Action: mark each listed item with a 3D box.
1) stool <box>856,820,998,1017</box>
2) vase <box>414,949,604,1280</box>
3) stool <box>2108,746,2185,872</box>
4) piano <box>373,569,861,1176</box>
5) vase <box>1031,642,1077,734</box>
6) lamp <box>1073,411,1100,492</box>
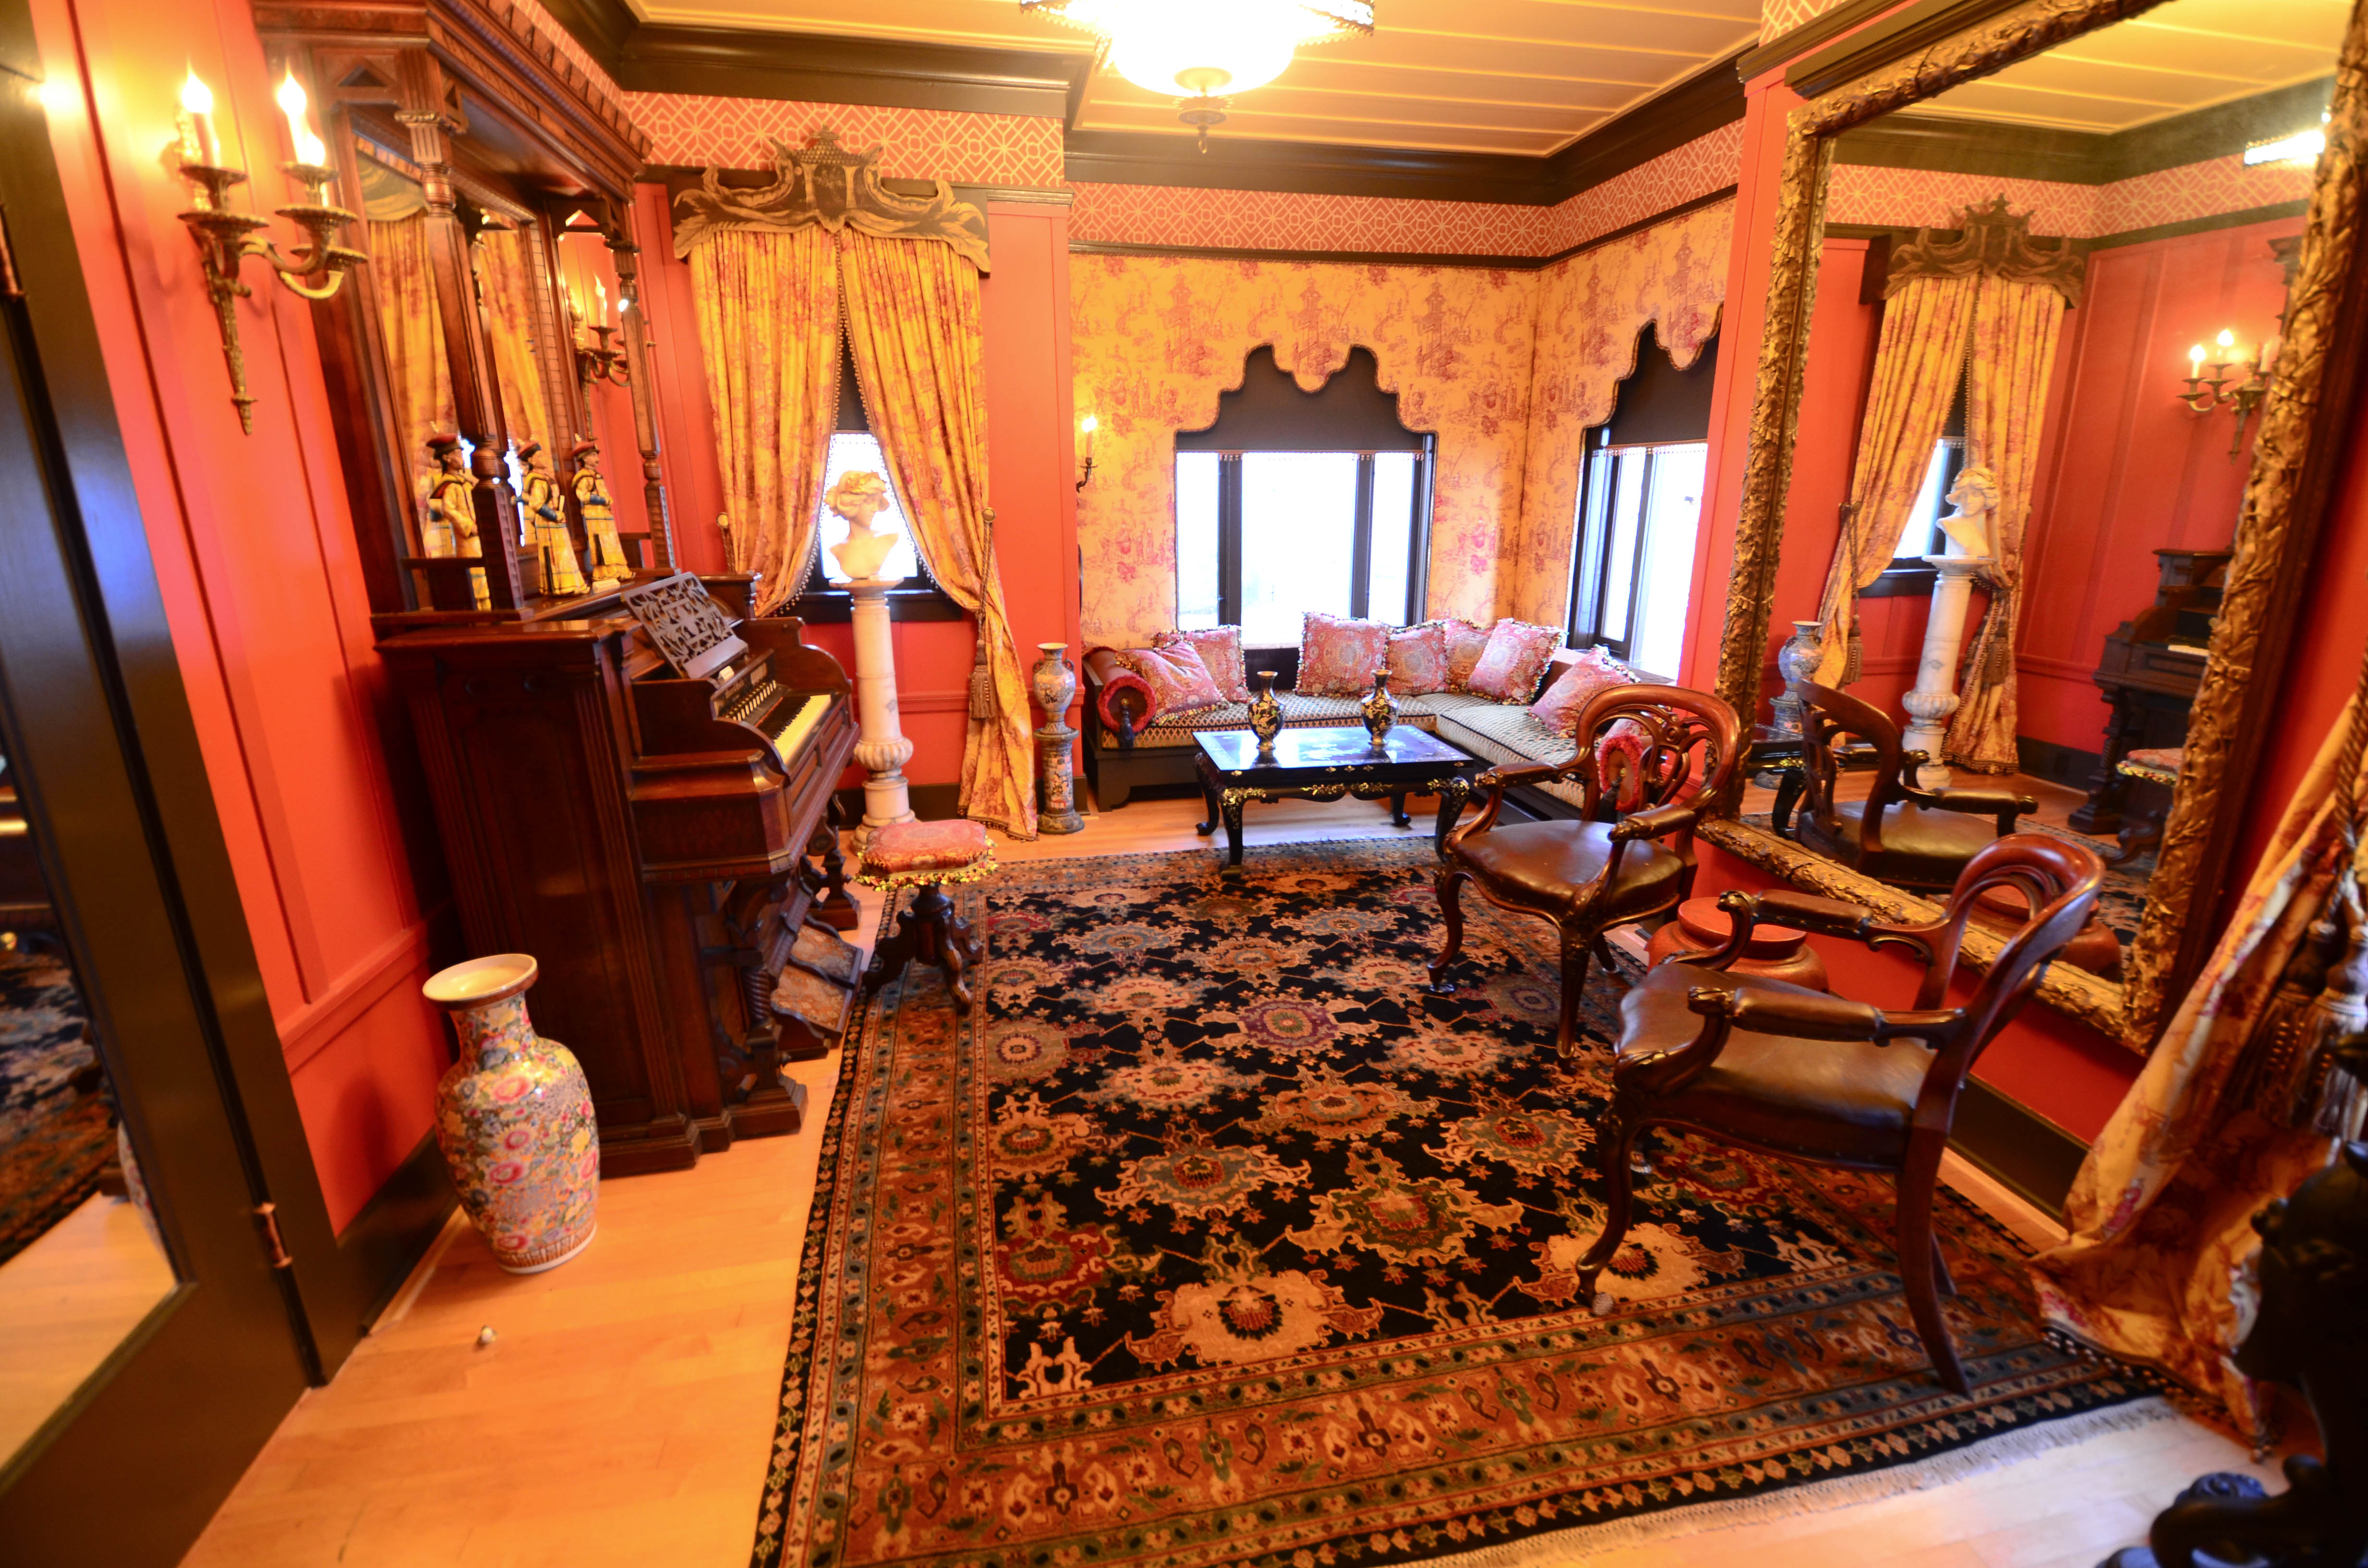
[{"bbox_3d":[-0.968,0.414,5.723,0.717,0.693,0.663,0,27,-2],"label":"stool"},{"bbox_3d":[-1.932,0.952,4.291,0.381,0.873,0.320,-6,17,-16],"label":"vase"},{"bbox_3d":[2.672,0.057,4.150,0.105,0.352,0.194,-4,16,-9],"label":"stool"},{"bbox_3d":[-1.788,0.319,4.555,0.888,1.445,1.728,-3,18,-7],"label":"piano"},{"bbox_3d":[-0.635,-0.472,7.196,0.214,0.438,0.384,-4,15,-7],"label":"vase"},{"bbox_3d":[-0.506,-1.743,7.791,0.114,0.392,0.160,2,17,11],"label":"lamp"}]
